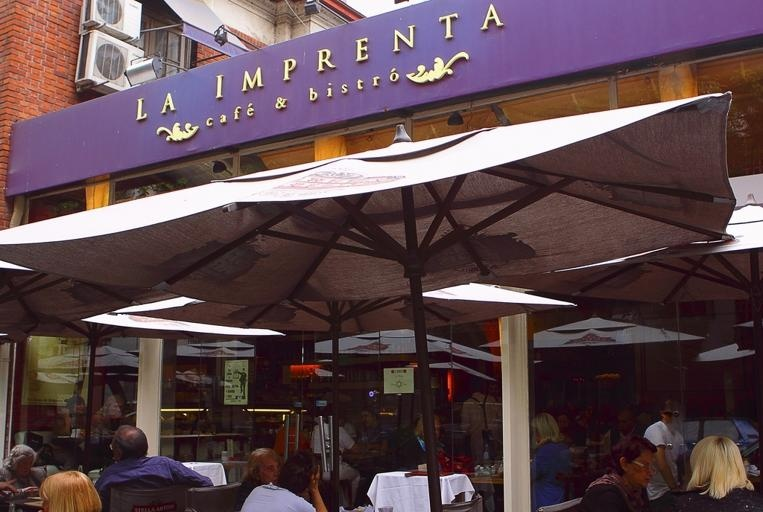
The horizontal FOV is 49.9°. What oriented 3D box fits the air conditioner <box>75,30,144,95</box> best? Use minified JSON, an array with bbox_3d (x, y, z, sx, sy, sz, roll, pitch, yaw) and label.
[{"bbox_3d":[-4.837,-3.354,14.546,0.495,0.960,1.143,2,-5,35],"label":"air conditioner"}]
